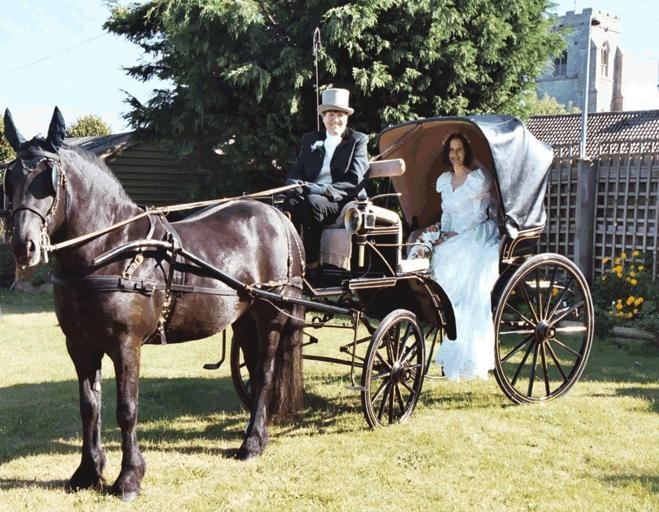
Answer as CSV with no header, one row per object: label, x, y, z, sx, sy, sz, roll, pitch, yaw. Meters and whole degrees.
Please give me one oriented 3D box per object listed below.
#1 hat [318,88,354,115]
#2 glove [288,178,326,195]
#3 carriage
hat,0.112,-2.025,15.379,0.334,0.222,0.414,3,3,12
glove,-0.246,-0.875,14.846,0.328,0.120,0.248,8,1,4
carriage,0.058,0.360,16.419,9.695,5.013,3.310,2,-3,-43
